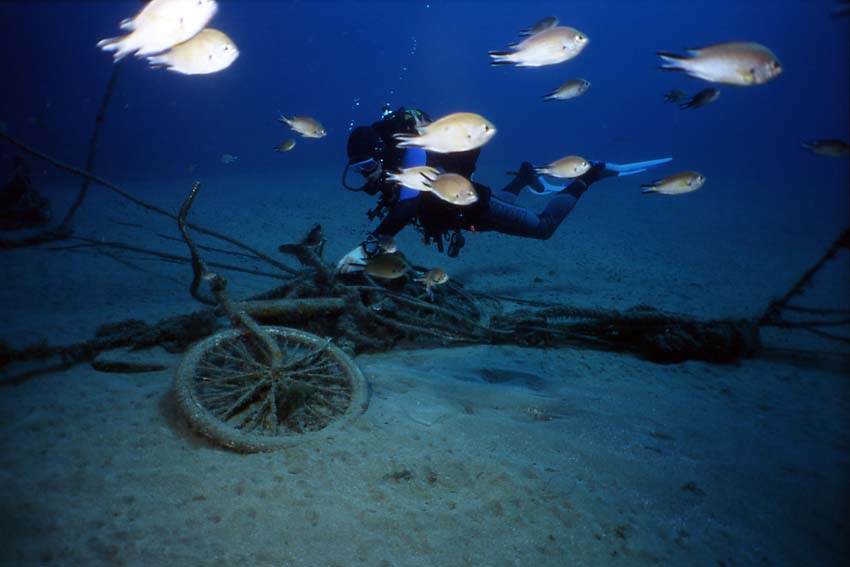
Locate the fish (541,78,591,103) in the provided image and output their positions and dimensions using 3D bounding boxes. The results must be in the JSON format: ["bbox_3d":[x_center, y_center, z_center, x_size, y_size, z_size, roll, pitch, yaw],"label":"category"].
[{"bbox_3d":[1.881,-2.583,8.009,0.520,0.369,0.579,13,9,7],"label":"fish"}]

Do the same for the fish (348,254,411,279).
[{"bbox_3d":[-0.538,-0.216,7.475,0.514,0.218,0.383,3,0,29],"label":"fish"}]

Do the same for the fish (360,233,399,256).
[{"bbox_3d":[-0.560,-0.506,7.690,0.299,0.190,0.417,-1,0,15],"label":"fish"}]

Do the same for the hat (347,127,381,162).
[{"bbox_3d":[-0.815,-1.844,8.020,0.439,0.524,0.332,10,9,-8],"label":"hat"}]

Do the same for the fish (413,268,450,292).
[{"bbox_3d":[0.058,-0.084,7.835,0.347,0.211,0.709,6,-9,-17],"label":"fish"}]
